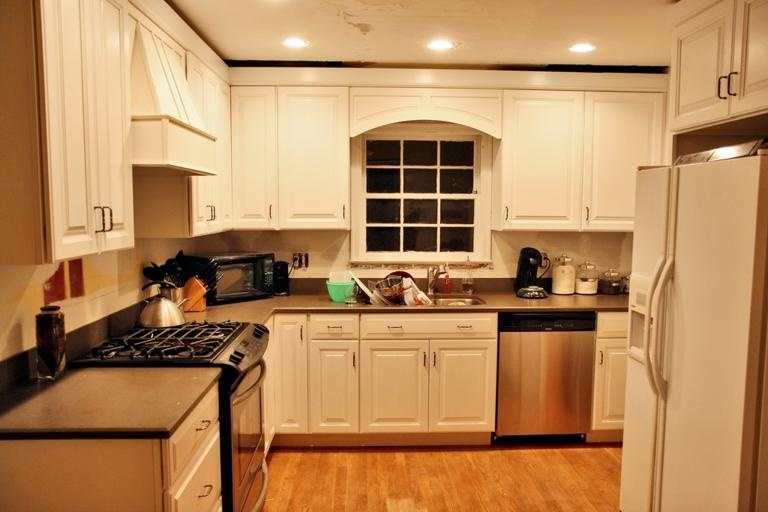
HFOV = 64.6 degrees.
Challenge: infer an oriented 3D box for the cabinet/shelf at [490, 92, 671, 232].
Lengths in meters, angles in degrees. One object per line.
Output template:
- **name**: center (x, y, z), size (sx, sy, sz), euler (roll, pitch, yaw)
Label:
- **cabinet/shelf**: center (1.444, -0.732, 4.461), size (1.230, 0.959, 0.448), euler (0, 2, 1)

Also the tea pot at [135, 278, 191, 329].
- **tea pot**: center (-1.321, 0.299, 3.695), size (0.335, 0.279, 0.265), euler (3, -4, -33)

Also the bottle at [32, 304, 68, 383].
- **bottle**: center (-1.627, 0.419, 2.965), size (0.127, 0.363, 0.143), euler (-1, 5, -28)

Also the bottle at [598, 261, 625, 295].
- **bottle**: center (1.807, 0.203, 4.884), size (0.240, 0.215, 0.170), euler (2, -1, 4)

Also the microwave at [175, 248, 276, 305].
- **microwave**: center (-1.136, 0.045, 4.355), size (0.420, 0.350, 0.586), euler (1, 5, 19)

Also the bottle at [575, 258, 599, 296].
- **bottle**: center (1.690, 0.179, 4.869), size (0.271, 0.246, 0.157), euler (0, 10, 17)

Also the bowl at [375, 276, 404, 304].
- **bowl**: center (0.048, 0.238, 4.439), size (0.189, 0.144, 0.203), euler (-18, 12, 4)

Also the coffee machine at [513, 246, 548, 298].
- **coffee machine**: center (1.162, 0.123, 4.810), size (0.254, 0.338, 0.329), euler (6, 2, 5)

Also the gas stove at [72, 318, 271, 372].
- **gas stove**: center (-1.137, 0.500, 3.464), size (0.889, 0.163, 0.742), euler (2, 4, 0)

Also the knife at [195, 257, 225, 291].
- **knife**: center (-1.219, 0.128, 4.185), size (0.172, 0.209, 0.060), euler (-15, 20, -37)

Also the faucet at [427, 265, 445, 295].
- **faucet**: center (0.411, 0.192, 4.850), size (0.141, 0.221, 0.126), euler (0, 5, -21)

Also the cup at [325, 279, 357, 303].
- **cup**: center (-0.314, 0.261, 4.549), size (0.174, 0.116, 0.174), euler (0, 6, 0)

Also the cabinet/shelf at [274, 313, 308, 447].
- **cabinet/shelf**: center (-0.667, 0.835, 4.363), size (0.276, 0.844, 0.086), euler (-8, -13, 25)

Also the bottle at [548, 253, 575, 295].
- **bottle**: center (1.439, 0.149, 4.862), size (0.274, 0.302, 0.266), euler (-1, 4, -39)

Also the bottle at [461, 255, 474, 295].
- **bottle**: center (0.684, 0.145, 4.914), size (0.091, 0.288, 0.143), euler (3, 5, 10)
